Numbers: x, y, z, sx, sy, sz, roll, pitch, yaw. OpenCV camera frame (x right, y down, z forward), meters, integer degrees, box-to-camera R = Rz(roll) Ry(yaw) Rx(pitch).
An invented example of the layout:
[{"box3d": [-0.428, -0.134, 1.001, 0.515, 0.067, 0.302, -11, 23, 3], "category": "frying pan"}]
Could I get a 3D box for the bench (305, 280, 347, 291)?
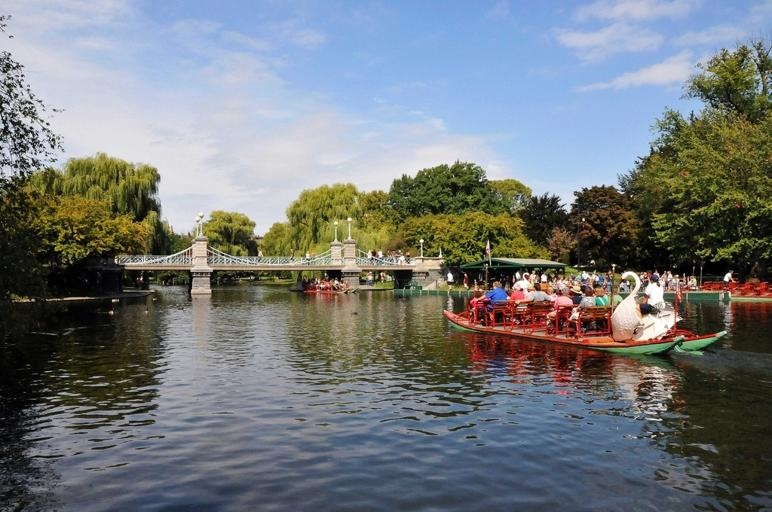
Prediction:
[{"box3d": [-6.682, 3.418, 70.579, 2.017, 0.823, 3.234, 1, 0, -30], "category": "bench"}]
